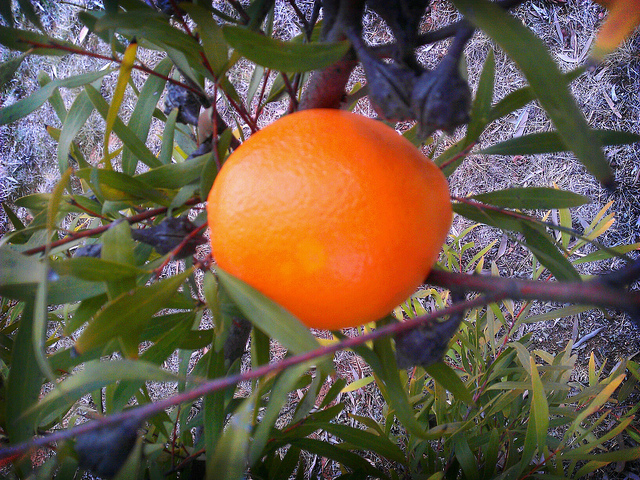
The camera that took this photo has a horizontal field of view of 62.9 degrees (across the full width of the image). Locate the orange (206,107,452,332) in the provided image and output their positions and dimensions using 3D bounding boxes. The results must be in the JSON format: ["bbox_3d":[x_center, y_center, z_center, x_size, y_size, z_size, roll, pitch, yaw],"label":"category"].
[{"bbox_3d":[0.020,-0.029,0.788,0.345,0.299,0.317,-10,87,-12],"label":"orange"}]
